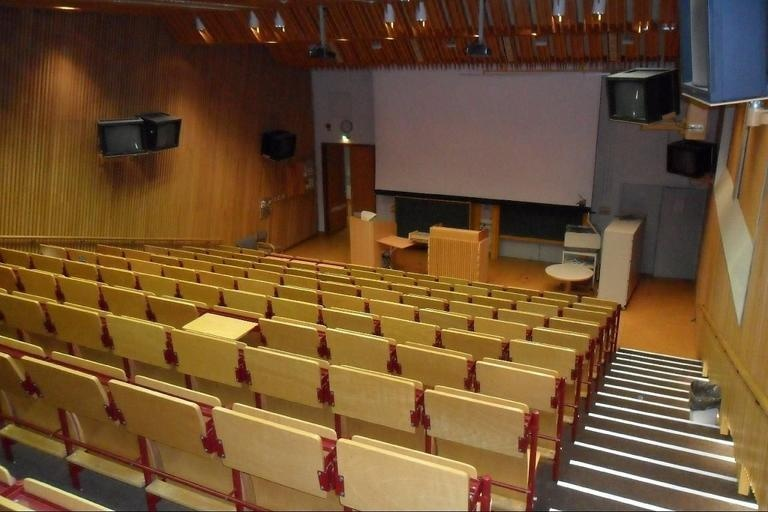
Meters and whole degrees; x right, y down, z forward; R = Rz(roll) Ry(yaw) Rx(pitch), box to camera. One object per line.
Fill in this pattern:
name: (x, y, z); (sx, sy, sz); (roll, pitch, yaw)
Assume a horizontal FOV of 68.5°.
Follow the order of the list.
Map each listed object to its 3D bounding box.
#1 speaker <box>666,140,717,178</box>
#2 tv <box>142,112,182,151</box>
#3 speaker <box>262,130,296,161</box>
speaker: (6.145, -1.985, 11.335); (0.832, 0.843, 0.632); (11, 19, 35)
tv: (-4.670, -2.573, 11.606); (0.533, 0.742, 0.872); (6, 14, 24)
speaker: (-2.809, -2.934, 14.758); (0.390, 0.486, 0.695); (32, 27, 14)
